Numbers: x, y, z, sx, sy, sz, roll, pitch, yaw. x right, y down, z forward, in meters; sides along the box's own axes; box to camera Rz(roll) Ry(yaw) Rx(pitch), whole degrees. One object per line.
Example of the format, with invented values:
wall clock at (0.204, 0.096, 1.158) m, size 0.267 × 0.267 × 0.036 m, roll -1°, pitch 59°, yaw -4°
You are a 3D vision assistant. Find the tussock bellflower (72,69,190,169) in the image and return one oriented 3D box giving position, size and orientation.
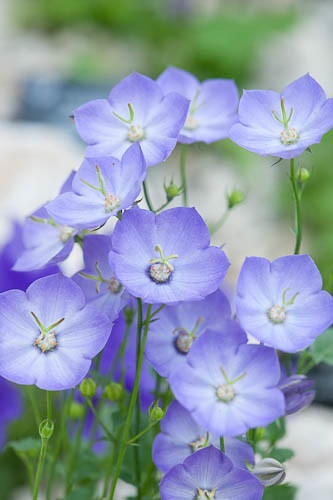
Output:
tussock bellflower at (-0.035, -0.119, 0.559) m, size 0.097 × 0.100 × 0.044 m, roll -12°, pitch -50°, yaw -12°
